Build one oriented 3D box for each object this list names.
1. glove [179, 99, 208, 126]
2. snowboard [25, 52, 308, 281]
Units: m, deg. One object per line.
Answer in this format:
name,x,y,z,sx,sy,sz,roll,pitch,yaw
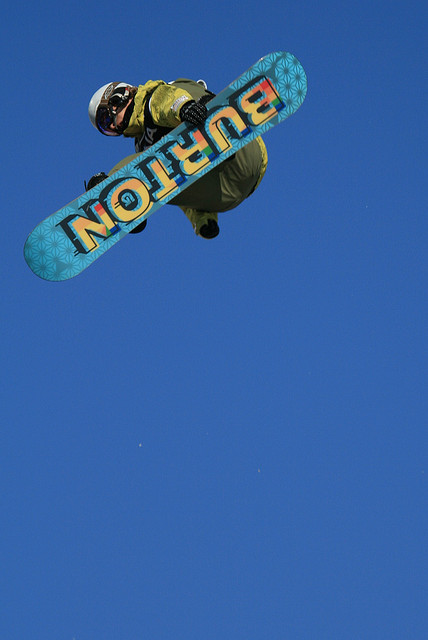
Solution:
glove,-0.092,-0.968,4.223,0.113,0.114,0.053,32,-1,0
snowboard,-0.236,-0.795,4.398,0.343,1.521,0.208,49,-4,-36
